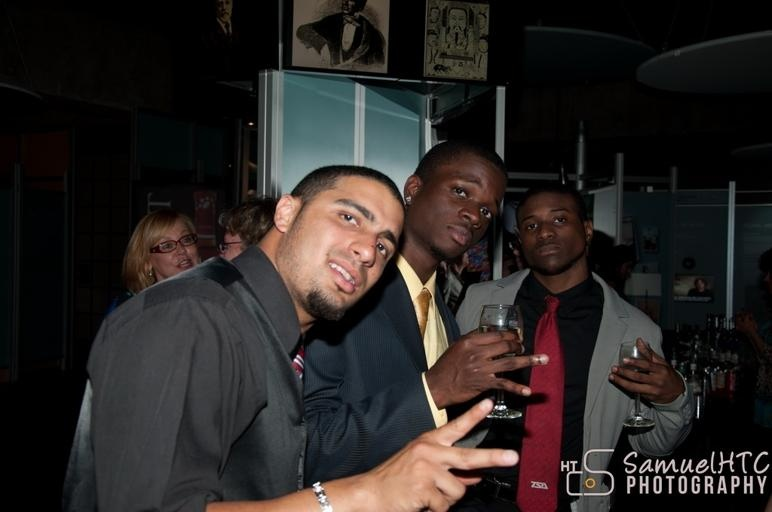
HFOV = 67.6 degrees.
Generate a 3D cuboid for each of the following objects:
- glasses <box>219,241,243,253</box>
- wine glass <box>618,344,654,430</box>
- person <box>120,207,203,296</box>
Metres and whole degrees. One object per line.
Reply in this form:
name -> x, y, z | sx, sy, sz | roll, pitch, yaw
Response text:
glasses -> -1.315, -0.076, 4.863 | 0.179, 0.047, 0.166 | -3, 4, -30
wine glass -> 1.683, 0.901, 3.849 | 0.216, 0.633, 0.355 | 2, -1, 27
person -> -2.157, -0.079, 5.427 | 0.813, 0.758, 0.631 | -4, 2, 36
